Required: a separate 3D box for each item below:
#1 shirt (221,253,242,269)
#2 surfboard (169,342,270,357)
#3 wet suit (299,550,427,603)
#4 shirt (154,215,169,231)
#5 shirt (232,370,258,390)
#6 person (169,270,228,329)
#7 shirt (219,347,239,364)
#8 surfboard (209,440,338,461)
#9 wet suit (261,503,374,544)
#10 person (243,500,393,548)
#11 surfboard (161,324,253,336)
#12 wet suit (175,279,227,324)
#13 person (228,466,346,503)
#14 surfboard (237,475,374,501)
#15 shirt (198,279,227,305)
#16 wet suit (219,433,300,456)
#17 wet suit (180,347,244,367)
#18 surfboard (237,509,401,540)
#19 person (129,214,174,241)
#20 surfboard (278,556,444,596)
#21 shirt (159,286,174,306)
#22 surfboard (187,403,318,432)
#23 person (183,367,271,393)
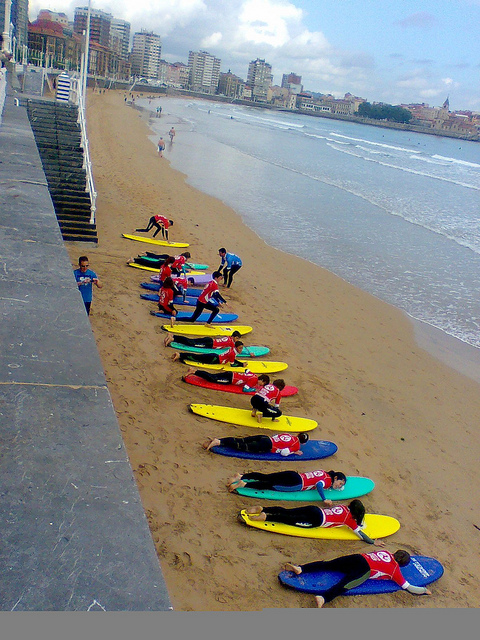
[{"bbox_3d":[-0.267,-1.467,14.308,0.510,0.401,0.320,-9,30,1],"label":"shirt"},{"bbox_3d":[-0.440,0.537,10.348,1.683,0.152,0.298,1,35,-10],"label":"surfboard"},{"bbox_3d":[1.246,2.648,6.086,1.017,0.232,0.523,-1,17,-22],"label":"wet suit"},{"bbox_3d":[-2.248,-2.727,16.702,0.279,0.338,0.517,16,11,39],"label":"shirt"},{"bbox_3d":[0.067,0.985,9.624,0.415,0.092,0.219,2,42,-2],"label":"shirt"},{"bbox_3d":[-0.901,-0.367,12.284,1.227,1.385,0.585,13,35,-27],"label":"person"},{"bbox_3d":[-0.213,0.629,10.098,0.341,0.115,0.236,-22,43,5],"label":"shirt"},{"bbox_3d":[0.378,1.768,7.891,1.558,0.151,0.341,7,19,-30],"label":"surfboard"},{"bbox_3d":[0.860,2.292,6.796,1.282,0.215,0.525,5,12,-19],"label":"wet suit"},{"bbox_3d":[0.937,2.313,6.852,1.979,0.365,0.746,4,-9,14],"label":"person"},{"bbox_3d":[-0.608,0.219,11.526,2.156,0.154,0.639,0,11,-44],"label":"surfboard"},{"bbox_3d":[-0.786,-0.359,11.569,1.133,0.941,0.530,5,2,-22],"label":"wet suit"},{"bbox_3d":[0.574,1.994,7.293,1.129,0.200,0.561,2,18,-18],"label":"person"},{"bbox_3d":[0.748,2.108,7.344,1.959,0.170,0.415,4,18,-20],"label":"surfboard"},{"bbox_3d":[-0.625,-0.565,12.500,0.455,0.461,0.602,9,26,-40],"label":"shirt"},{"bbox_3d":[0.322,1.632,7.828,1.364,0.218,0.333,5,29,-31],"label":"wet suit"},{"bbox_3d":[-0.504,0.640,9.981,0.991,0.376,0.328,9,33,-34],"label":"wet suit"},{"bbox_3d":[0.832,2.358,6.739,1.756,0.171,0.366,7,25,-21],"label":"surfboard"},{"bbox_3d":[-2.391,-2.744,17.052,1.643,0.819,0.603,3,36,-15],"label":"person"},{"bbox_3d":[1.187,2.680,6.128,1.998,0.182,0.437,5,21,-22],"label":"surfboard"},{"bbox_3d":[-1.442,-0.453,11.398,0.324,0.282,0.159,24,36,14],"label":"shirt"},{"bbox_3d":[0.109,1.458,8.644,1.551,0.135,0.316,9,25,-19],"label":"surfboard"},{"bbox_3d":[-0.068,0.928,9.509,1.644,0.457,0.318,7,52,-2],"label":"person"}]
